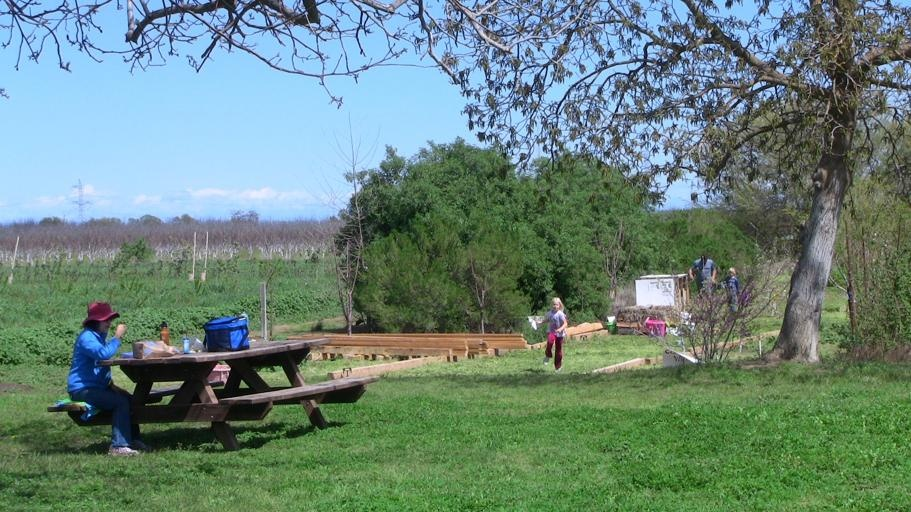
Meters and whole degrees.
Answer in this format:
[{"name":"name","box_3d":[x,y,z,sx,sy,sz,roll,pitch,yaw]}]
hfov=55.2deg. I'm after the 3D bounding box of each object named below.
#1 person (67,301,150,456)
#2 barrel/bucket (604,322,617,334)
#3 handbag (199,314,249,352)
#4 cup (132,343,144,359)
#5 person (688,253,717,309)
[{"name":"person","box_3d":[-7.804,2.704,19.341,1.520,3.220,0.883,5,11,34]},{"name":"barrel/bucket","box_3d":[6.538,3.015,36.678,0.433,0.506,0.387,0,-5,6]},{"name":"handbag","box_3d":[-5.108,1.769,19.795,0.891,0.628,0.810,-5,-12,37]},{"name":"cup","box_3d":[-6.970,2.060,19.141,0.256,0.327,0.221,-3,9,-9]},{"name":"person","box_3d":[8.825,0.716,31.040,0.879,1.879,0.562,-6,25,13]}]
